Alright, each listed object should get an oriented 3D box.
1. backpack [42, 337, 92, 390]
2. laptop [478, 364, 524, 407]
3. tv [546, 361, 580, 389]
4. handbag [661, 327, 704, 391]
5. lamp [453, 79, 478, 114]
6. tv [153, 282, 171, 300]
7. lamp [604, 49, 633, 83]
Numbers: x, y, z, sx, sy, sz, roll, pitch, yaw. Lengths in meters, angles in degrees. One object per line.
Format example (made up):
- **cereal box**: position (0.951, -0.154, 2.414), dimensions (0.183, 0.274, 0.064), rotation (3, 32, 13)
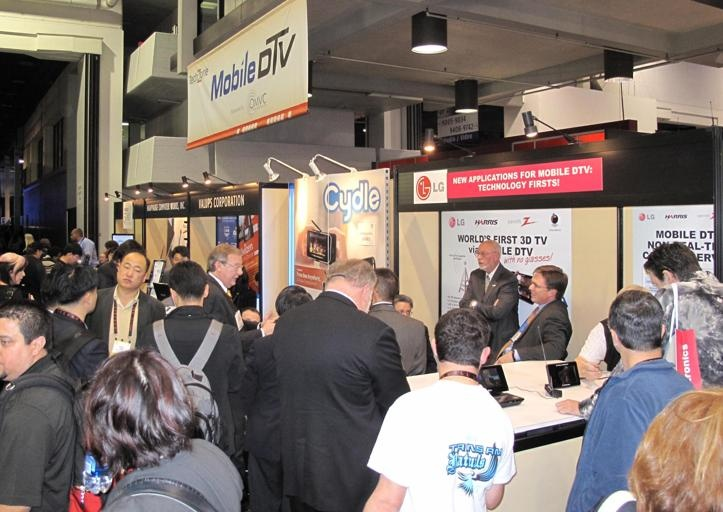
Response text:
- **backpack**: position (-1.420, 0.527, 2.868), dimensions (0.170, 0.234, 0.121), rotation (-37, 12, 0)
- **laptop**: position (0.815, 0.771, 3.601), dimensions (0.267, 0.195, 0.242), rotation (-3, 13, -45)
- **tv**: position (1.276, 0.760, 3.767), dimensions (0.167, 0.116, 0.024), rotation (-5, 4, -35)
- **handbag**: position (1.631, 0.512, 2.987), dimensions (0.125, 0.316, 0.055), rotation (1, 0, 29)
- **lamp**: position (2.081, -3.181, 11.836), dimensions (0.615, 0.566, 0.624), rotation (-2, 5, -22)
- **tv**: position (-2.262, 0.394, 6.716), dimensions (0.263, 0.253, 0.064), rotation (8, 18, 37)
- **lamp**: position (4.226, -3.163, 9.988), dimensions (0.481, 0.569, 0.496), rotation (1, 6, -2)
